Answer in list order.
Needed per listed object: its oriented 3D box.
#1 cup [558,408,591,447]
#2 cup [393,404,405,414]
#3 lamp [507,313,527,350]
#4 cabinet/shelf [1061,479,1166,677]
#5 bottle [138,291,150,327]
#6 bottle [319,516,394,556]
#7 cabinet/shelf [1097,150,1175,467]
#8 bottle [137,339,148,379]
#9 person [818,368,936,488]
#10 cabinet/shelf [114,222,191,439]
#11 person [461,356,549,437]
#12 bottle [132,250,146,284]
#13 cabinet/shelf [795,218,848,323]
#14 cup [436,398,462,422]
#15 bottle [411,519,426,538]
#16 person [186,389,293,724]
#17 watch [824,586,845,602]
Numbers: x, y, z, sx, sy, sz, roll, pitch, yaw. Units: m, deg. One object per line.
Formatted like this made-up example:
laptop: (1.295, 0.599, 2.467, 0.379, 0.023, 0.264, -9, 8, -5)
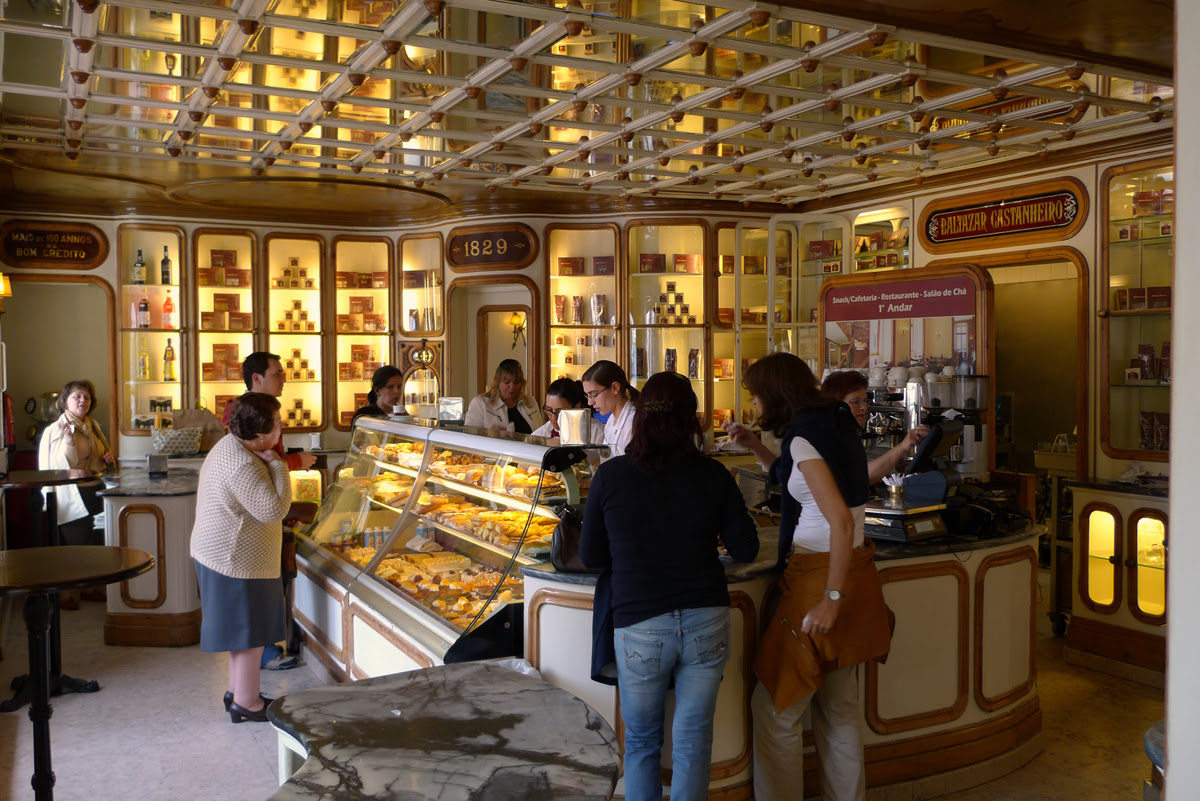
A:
cup: (-0.115, 0.140, 4.396, 0.179, 0.170, 0.170, 0, -3, 0)
cup: (-1.403, 0.053, 6.195, 0.090, 0.059, 0.090, 1, -8, 0)
lamp: (-0.868, -0.762, 9.488, 0.116, 0.410, 0.264, -4, 8, -37)
cabinet/shelf: (3.618, 1.197, 6.141, 0.275, 1.199, 0.781, -3, 7, -30)
bottle: (-4.712, -0.927, 9.079, 0.105, 0.314, 0.162, -1, 7, -16)
bottle: (-1.562, 0.818, 5.512, 0.371, 0.101, 0.348, 0, -1, 0)
cabinet/shelf: (3.856, -0.664, 6.345, 0.494, 2.156, 0.493, 3, 7, 25)
bottle: (-4.737, -0.387, 9.119, 0.049, 0.304, 0.135, 2, 7, 12)
person: (1.566, 0.160, 4.886, 0.409, 0.638, 0.710, -4, 4, -25)
cabinet/shelf: (-4.630, -0.760, 9.082, 0.671, 2.104, 0.456, -2, 7, -24)
person: (-0.770, -0.047, 7.411, 0.787, 0.730, 0.433, 2, -7, -21)
bottle: (-4.780, -1.406, 9.100, 0.154, 0.370, 0.169, 0, 6, 0)
cabinet/shelf: (2.193, -1.306, 8.639, 0.394, 1.029, 0.646, -1, 6, -10)
cup: (-1.047, 0.063, 6.119, 0.170, 0.139, 0.084, 1, -10, -7)
bottle: (-1.027, 0.736, 5.009, 0.097, 0.084, 0.166, 0, -1, 4)
person: (-2.057, 0.698, 5.032, 0.529, 1.485, 0.353, -2, 7, -22)
watch: (0.992, 0.811, 3.684, 0.063, 0.066, 0.017, -42, 11, 19)
